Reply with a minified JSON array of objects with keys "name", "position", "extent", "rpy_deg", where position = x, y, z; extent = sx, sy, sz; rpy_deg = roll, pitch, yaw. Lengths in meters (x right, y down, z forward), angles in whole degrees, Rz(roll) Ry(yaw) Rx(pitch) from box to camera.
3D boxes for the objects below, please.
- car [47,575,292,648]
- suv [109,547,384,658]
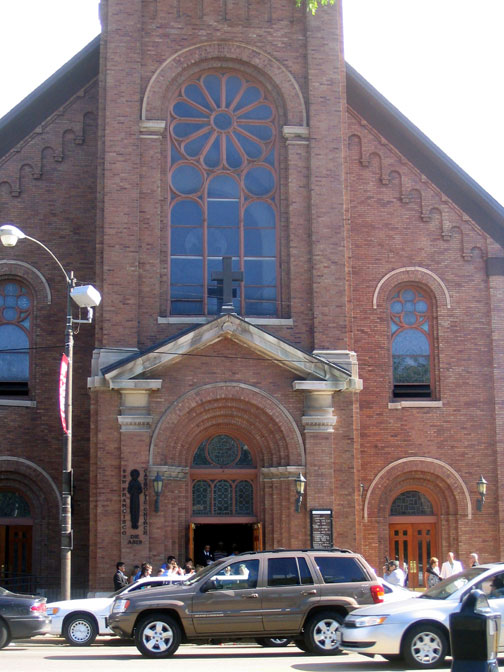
[{"name":"car","position":[-1.715,5.473,32.465],"extent":[4.588,1.294,1.798],"rpy_deg":[2,-12,-4]},{"name":"suv","position":[-0.121,5.191,30.387],"extent":[4.598,1.559,2.064],"rpy_deg":[3,-24,-6]}]
